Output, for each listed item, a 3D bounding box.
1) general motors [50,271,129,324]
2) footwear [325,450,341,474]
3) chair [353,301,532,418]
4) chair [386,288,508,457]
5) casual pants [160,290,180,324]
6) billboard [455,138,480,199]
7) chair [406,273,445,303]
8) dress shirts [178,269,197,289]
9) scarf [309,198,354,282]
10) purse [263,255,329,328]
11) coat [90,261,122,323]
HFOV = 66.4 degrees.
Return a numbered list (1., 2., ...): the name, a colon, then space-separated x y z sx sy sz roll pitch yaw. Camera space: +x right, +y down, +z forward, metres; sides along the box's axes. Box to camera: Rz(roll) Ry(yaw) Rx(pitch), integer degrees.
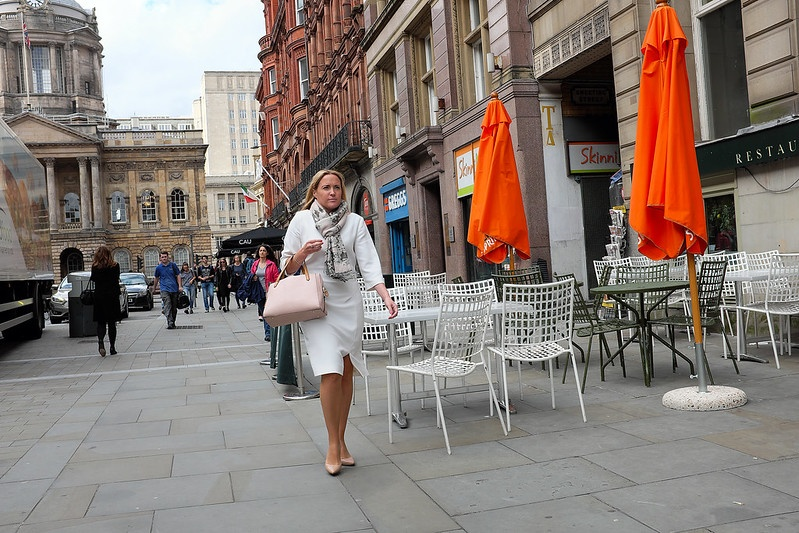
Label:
1. general motors: -13.405 0.993 25.104 1.607 1.362 2.839 7 17 -27
2. footwear: -0.613 1.785 5.628 0.158 0.209 0.170 -5 4 -13
3. chair: 0.567 1.110 7.115 1.771 1.213 0.927 -5 0 -14
4. chair: 0.472 1.073 6.584 1.247 1.537 1.253 0 -4 -20
5. casual pants: -7.196 1.234 19.107 0.686 1.232 0.374 -7 7 -39
6. billboard: 2.089 -2.839 17.249 0.079 1.385 1.961 -5 -1 -20
7. chair: 0.402 0.446 11.599 0.603 0.389 0.619 -4 7 -17
8. dress shirts: -8.958 0.516 25.529 0.819 0.794 0.441 1 -7 -19
9. scarf: -0.641 -0.253 5.741 0.363 0.771 0.359 -5 4 -8
10. purse: -1.004 0.124 5.516 0.571 0.576 0.201 -6 36 -23
11. coat: -6.355 0.586 13.124 0.563 1.240 0.334 -6 5 -27
